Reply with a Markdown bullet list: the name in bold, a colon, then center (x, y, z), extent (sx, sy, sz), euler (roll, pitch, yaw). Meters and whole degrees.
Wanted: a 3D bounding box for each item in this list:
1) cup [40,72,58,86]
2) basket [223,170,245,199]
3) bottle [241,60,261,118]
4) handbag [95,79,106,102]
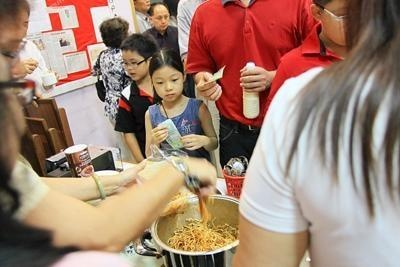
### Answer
- **cup**: center (-1.481, -0.528, 2.985), extent (0.123, 0.115, 0.128), euler (1, 8, 0)
- **basket**: center (0.173, 0.261, 1.574), extent (0.142, 0.160, 0.137), euler (4, 20, 10)
- **bottle**: center (0.335, -0.283, 1.998), extent (0.098, 0.343, 0.120), euler (4, 22, 11)
- **handbag**: center (-1.348, -0.582, 4.124), extent (0.188, 0.273, 0.070), euler (-3, 2, 43)
